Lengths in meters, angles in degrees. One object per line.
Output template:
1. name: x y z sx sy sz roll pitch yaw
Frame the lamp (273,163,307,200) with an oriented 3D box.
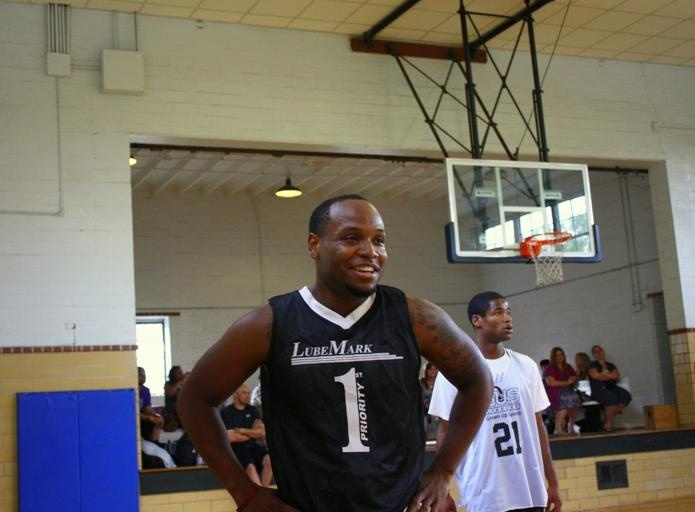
1. lamp: -0.971 -1.233 12.977 0.584 0.622 0.626 -5 -7 32

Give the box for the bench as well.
1. bench: 3.766 2.452 12.418 1.159 1.326 1.335 0 3 16

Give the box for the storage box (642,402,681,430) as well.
1. storage box: 4.337 2.207 10.756 0.488 0.309 0.470 -4 -8 5
